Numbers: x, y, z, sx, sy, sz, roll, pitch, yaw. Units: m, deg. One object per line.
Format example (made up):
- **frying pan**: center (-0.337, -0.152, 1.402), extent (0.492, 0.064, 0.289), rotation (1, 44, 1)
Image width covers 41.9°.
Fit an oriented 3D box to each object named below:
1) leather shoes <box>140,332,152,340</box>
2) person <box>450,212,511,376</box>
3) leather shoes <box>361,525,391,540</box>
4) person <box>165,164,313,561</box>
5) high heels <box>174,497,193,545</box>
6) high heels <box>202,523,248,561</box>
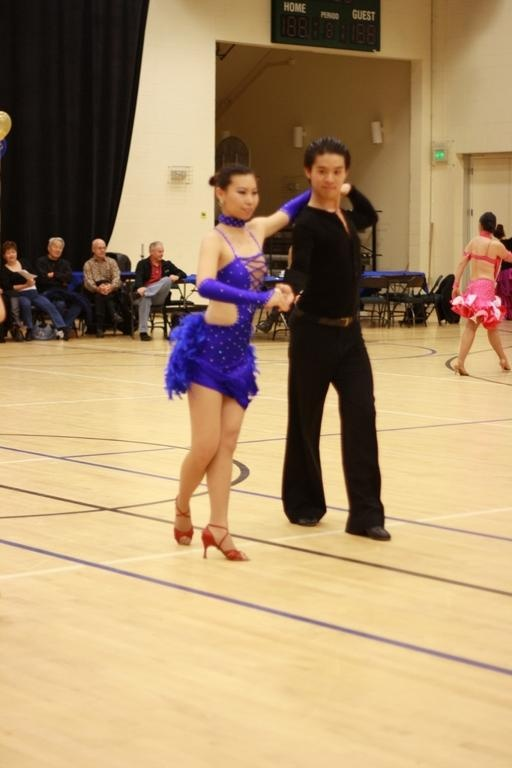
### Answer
- **leather shoes**: center (-1.956, -0.836, 11.924), extent (0.099, 0.155, 0.270), rotation (-1, -3, -27)
- **person**: center (2.810, -1.075, 8.324), extent (0.758, 1.979, 1.571), rotation (1, -1, 16)
- **leather shoes**: center (0.480, 0.605, 2.717), extent (0.126, 0.051, 0.071), rotation (1, -1, 19)
- **person**: center (-0.103, -0.087, 2.434), extent (0.465, 1.444, 0.605), rotation (2, -1, 1)
- **high heels**: center (-0.268, 0.524, 2.581), extent (0.067, 0.187, 0.077), rotation (-3, 16, -3)
- **high heels**: center (-0.122, 0.576, 2.423), extent (0.231, 0.136, 0.080), rotation (6, -3, -3)
